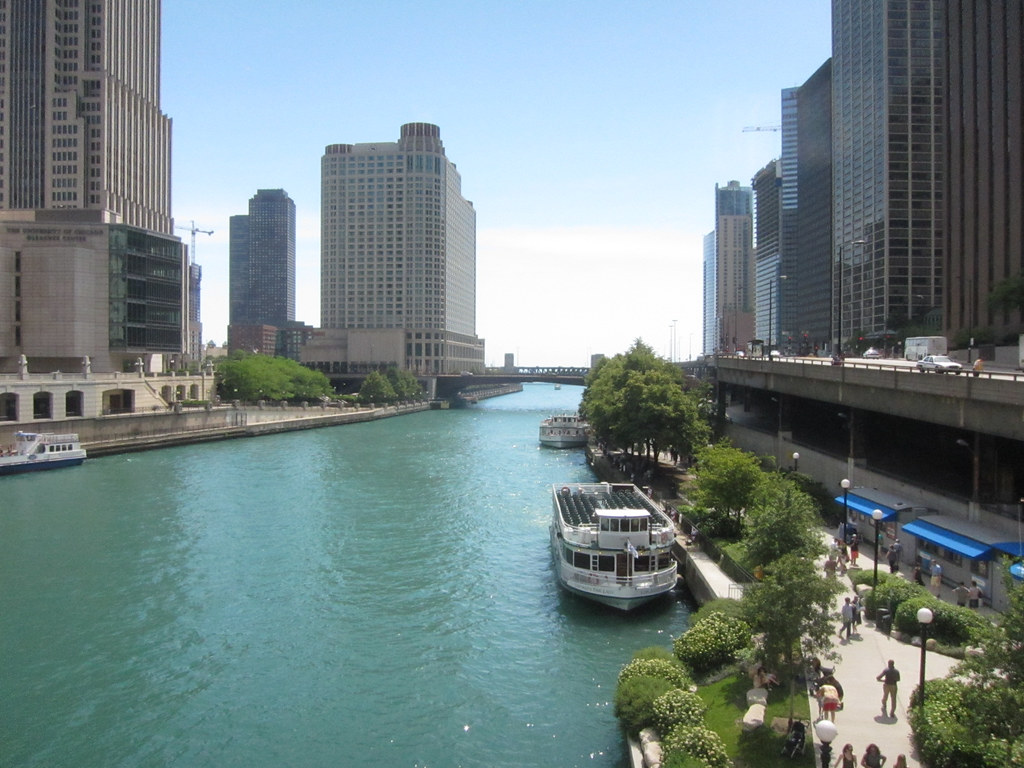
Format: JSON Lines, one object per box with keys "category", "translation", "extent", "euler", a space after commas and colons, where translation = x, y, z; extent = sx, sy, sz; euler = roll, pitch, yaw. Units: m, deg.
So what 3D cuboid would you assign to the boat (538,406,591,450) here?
{"category": "boat", "translation": [9.139, 7.579, 159.204], "extent": [6.221, 5.026, 13.340], "euler": [0, -3, 3]}
